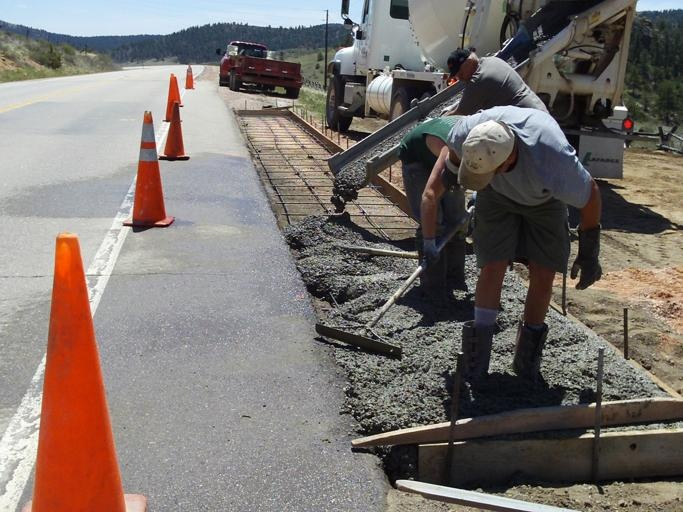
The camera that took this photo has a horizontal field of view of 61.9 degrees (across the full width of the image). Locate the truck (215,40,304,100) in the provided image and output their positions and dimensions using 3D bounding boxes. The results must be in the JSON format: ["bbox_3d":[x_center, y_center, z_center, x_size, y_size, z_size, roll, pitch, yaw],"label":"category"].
[{"bbox_3d":[-4.118,-8.589,26.724,2.940,1.932,5.492,-3,20,-21],"label":"truck"}]

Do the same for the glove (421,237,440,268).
[{"bbox_3d":[0.614,-0.015,4.074,0.077,0.182,0.137,6,5,-11],"label":"glove"}]

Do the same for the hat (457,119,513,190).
[{"bbox_3d":[0.797,-0.523,3.097,0.311,0.387,0.236,-4,22,-5],"label":"hat"}]

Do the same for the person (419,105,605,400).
[{"bbox_3d":[1.069,-0.091,3.501,1.089,1.597,0.876,1,22,8],"label":"person"}]

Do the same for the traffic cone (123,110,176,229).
[{"bbox_3d":[-2.076,-0.897,5.909,0.488,1.142,0.579,-8,23,-14],"label":"traffic cone"}]
